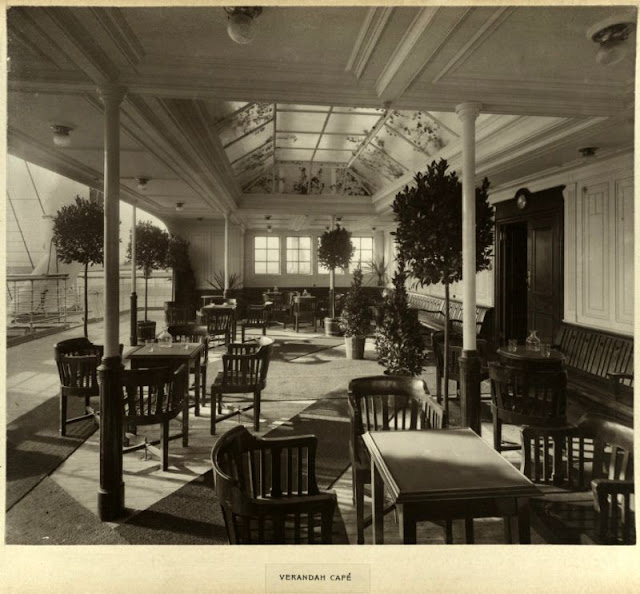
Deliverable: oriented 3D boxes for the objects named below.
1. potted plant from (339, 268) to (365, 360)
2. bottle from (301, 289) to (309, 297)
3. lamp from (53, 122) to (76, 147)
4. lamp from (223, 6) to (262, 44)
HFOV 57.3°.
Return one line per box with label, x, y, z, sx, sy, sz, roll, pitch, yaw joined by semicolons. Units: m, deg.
potted plant;0.548;0.245;9.325;0.436;1.508;0.492;-4;-12;24
bottle;-0.355;-0.131;14.902;0.251;0.187;0.275;-1;-9;0
lamp;-2.468;-1.558;5.632;0.189;0.211;0.343;2;-1;-26
lamp;-0.500;-1.818;3.840;0.240;0.267;0.318;2;-1;-7
